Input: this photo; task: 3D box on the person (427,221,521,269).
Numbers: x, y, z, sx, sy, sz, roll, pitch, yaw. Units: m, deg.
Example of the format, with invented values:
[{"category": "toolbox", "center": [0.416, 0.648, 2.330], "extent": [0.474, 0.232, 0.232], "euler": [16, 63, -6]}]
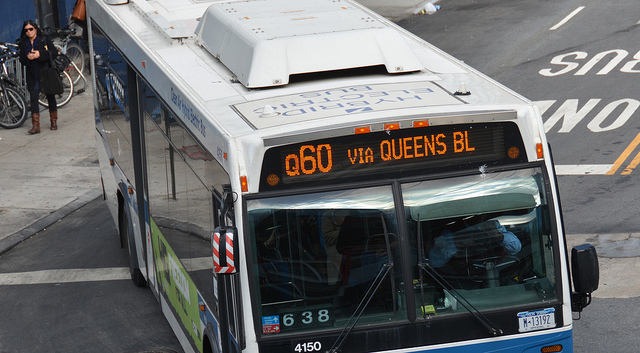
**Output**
[{"category": "person", "center": [2.412, 1.010, 11.960], "extent": [1.479, 0.457, 0.708], "euler": [-5, 75, 0]}]

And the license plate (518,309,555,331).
[{"category": "license plate", "center": [3.397, 2.243, 12.240], "extent": [0.665, 0.080, 0.329], "euler": [-19, 59, 43]}]
